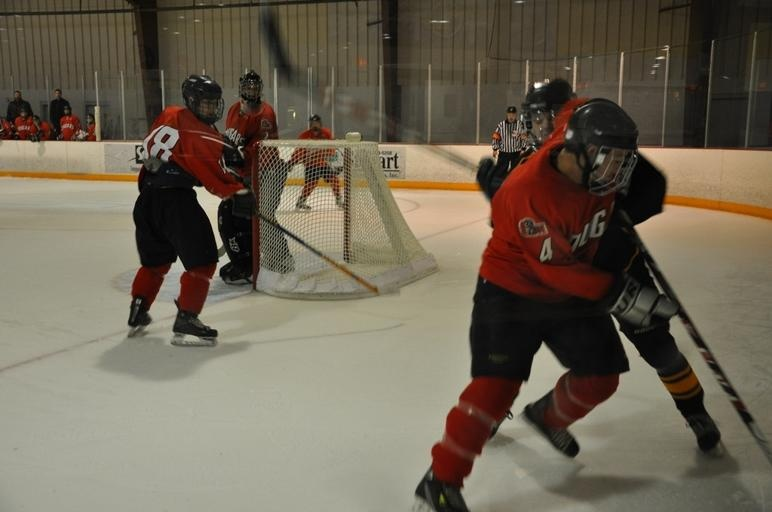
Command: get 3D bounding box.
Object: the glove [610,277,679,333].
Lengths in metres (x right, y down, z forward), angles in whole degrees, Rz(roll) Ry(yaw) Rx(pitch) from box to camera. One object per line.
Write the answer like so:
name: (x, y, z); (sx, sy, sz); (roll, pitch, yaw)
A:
glove: (0.896, 0.160, 2.143); (0.265, 0.153, 0.103); (19, 16, -20)

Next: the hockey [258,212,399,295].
hockey: (-0.472, -0.021, 4.141); (1.023, 0.081, 0.088); (35, 18, -21)

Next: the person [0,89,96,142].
person: (-5.667, -2.387, 10.094); (0.914, 0.697, 0.251); (0, 31, -8)

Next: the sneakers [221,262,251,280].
sneakers: (-1.156, 0.120, 4.628); (0.195, 0.101, 0.138); (-6, 1, 22)

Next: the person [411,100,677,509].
person: (0.535, 0.143, 2.105); (0.914, 1.341, 0.341); (-5, 14, -16)

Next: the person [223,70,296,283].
person: (-1.051, -0.567, 4.341); (0.487, 1.469, 0.640); (10, 16, 28)

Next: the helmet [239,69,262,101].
helmet: (-0.716, -0.899, 3.186); (0.129, 0.169, 0.168); (1, 11, -11)

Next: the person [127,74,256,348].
person: (-1.160, -0.249, 3.343); (0.664, 1.439, 0.339); (2, 14, 12)

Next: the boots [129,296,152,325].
boots: (-1.420, 0.314, 3.460); (0.095, 0.184, 0.117); (33, 36, 33)

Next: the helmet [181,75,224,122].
helmet: (-0.973, -0.839, 3.196); (0.244, 0.230, 0.187); (26, 22, 24)

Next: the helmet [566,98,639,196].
helmet: (0.687, -0.373, 2.001); (0.279, 0.262, 0.238); (22, 17, 26)
